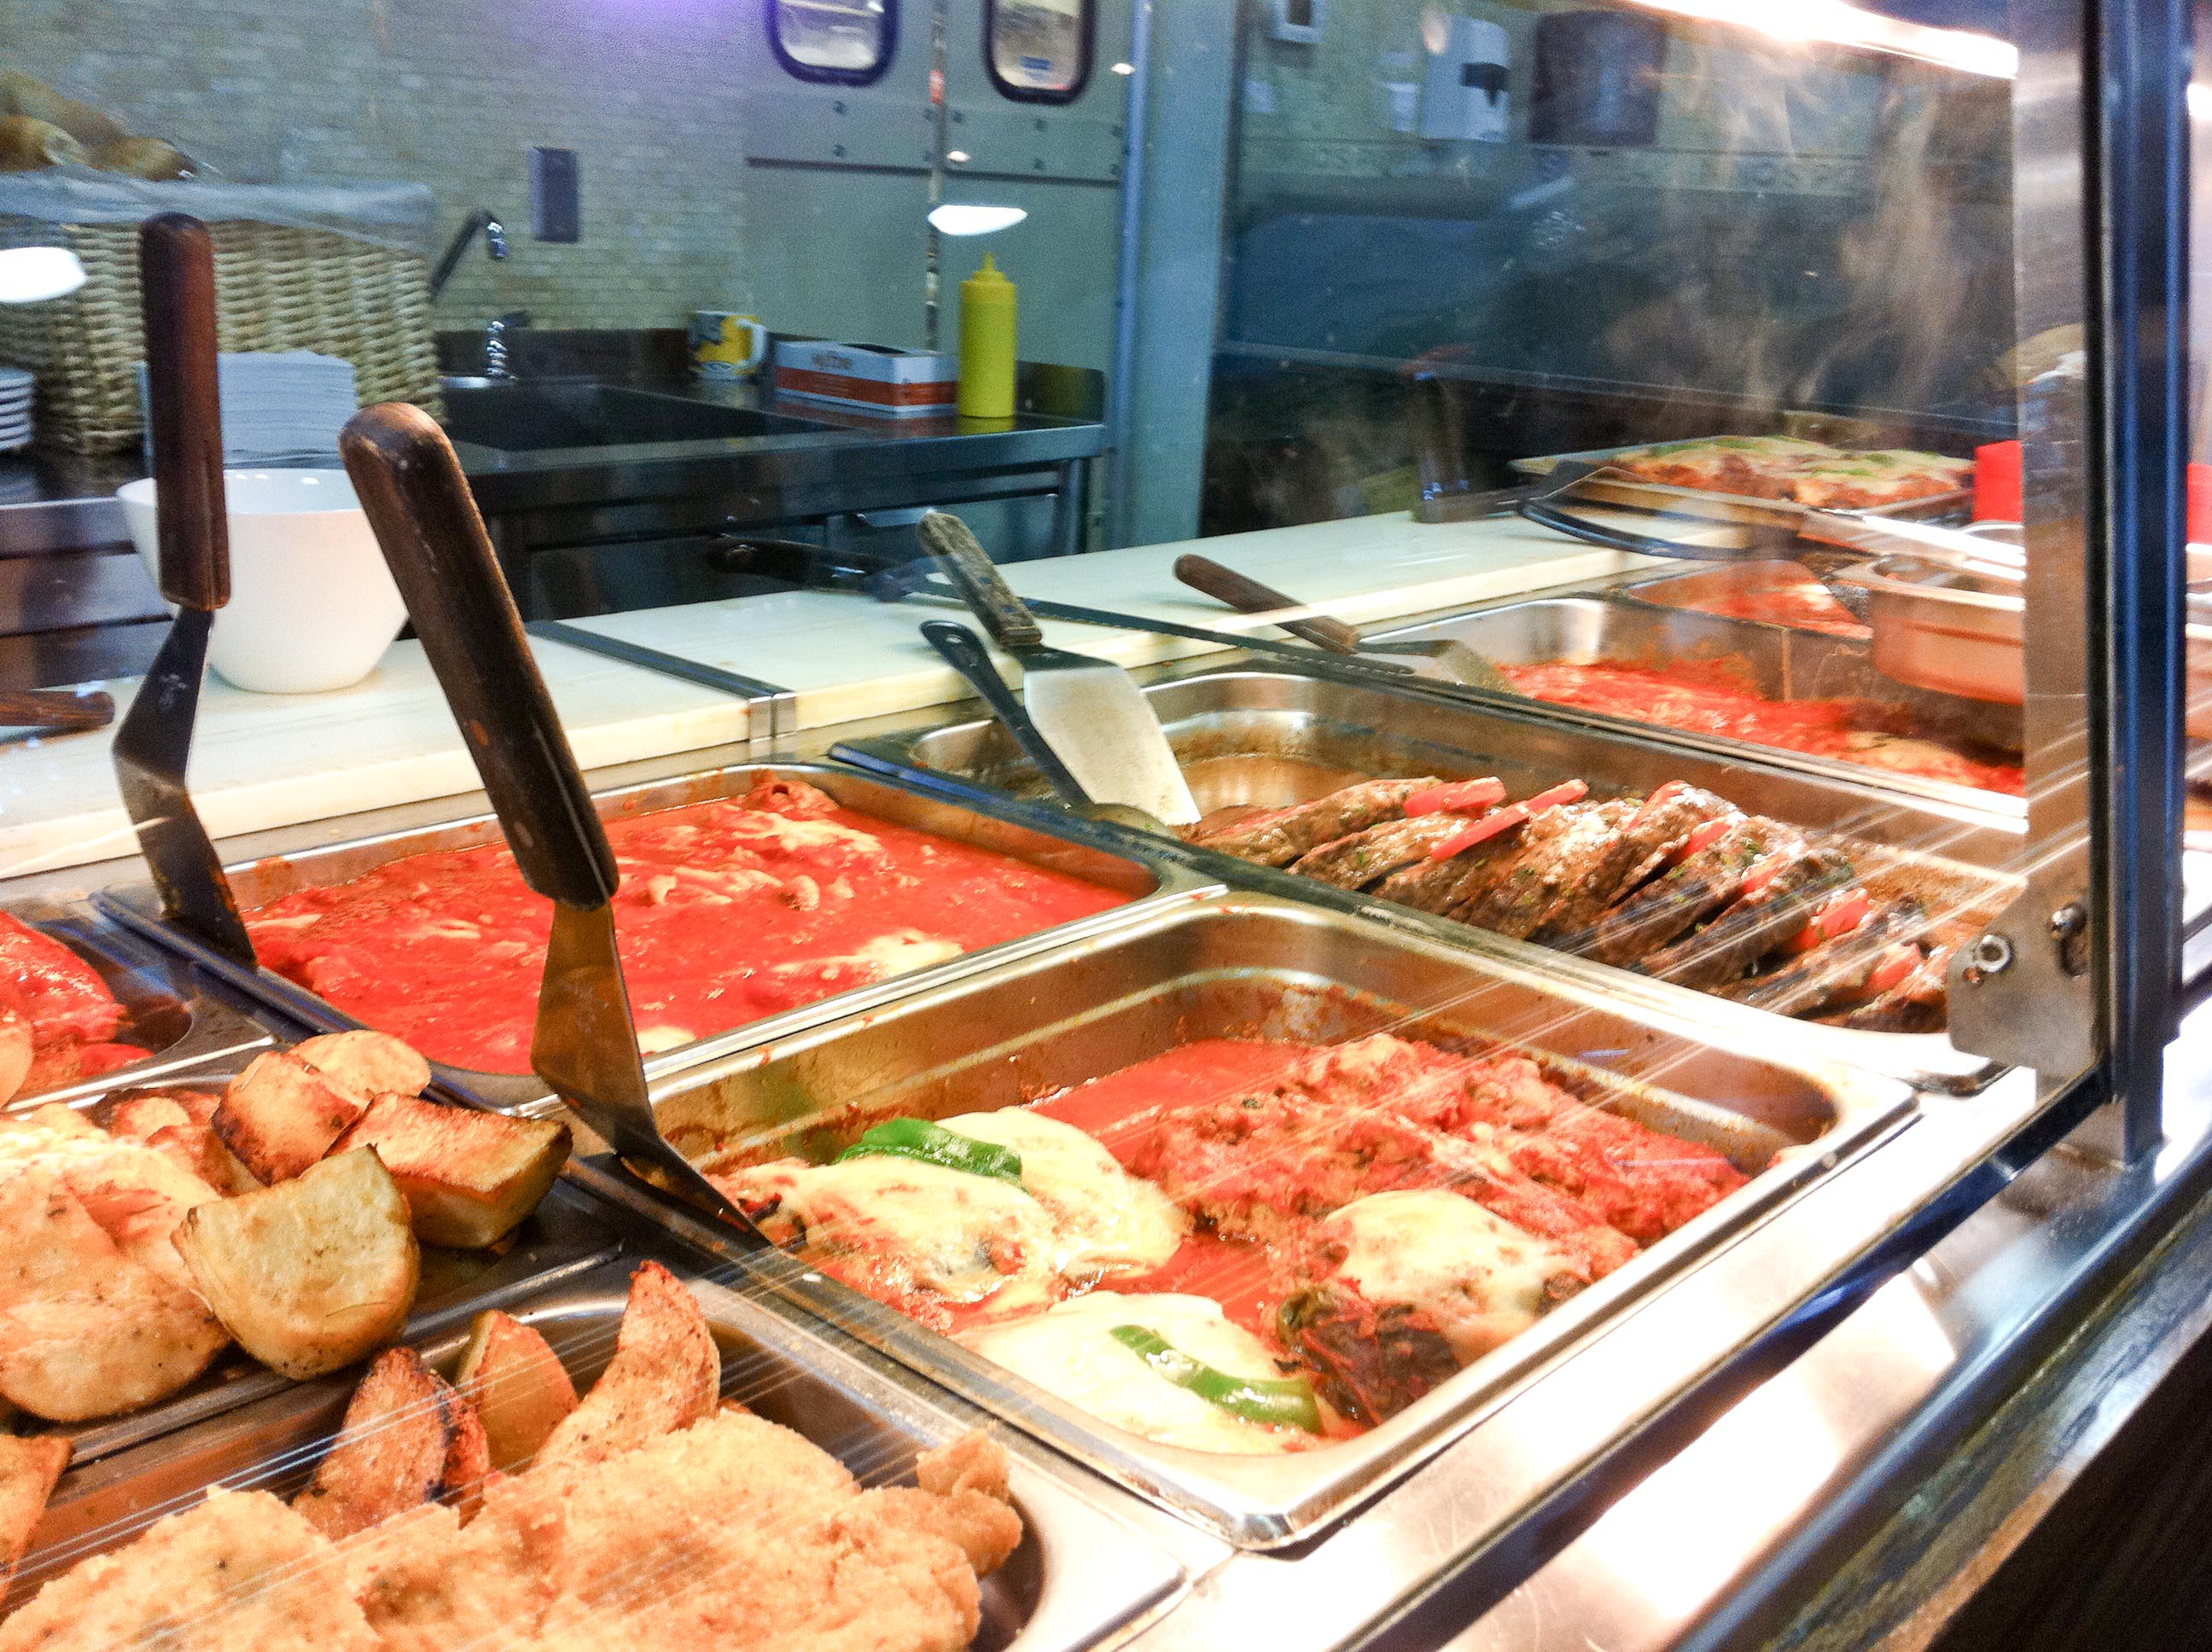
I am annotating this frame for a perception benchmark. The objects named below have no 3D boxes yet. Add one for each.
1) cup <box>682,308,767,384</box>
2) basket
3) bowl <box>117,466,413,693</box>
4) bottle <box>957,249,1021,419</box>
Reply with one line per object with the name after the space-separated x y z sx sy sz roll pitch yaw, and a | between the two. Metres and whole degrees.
-0.196 -0.251 0.818 0.046 0.026 0.029 12 24 17 | cup
-0.467 -0.240 0.824 0.219 0.087 0.261 -8 18 -25 | basket
-0.598 -0.193 1.228 0.274 0.128 0.222 -3 15 -11 | bowl
-0.078 -0.303 0.990 0.029 0.104 0.071 2 28 14 | bottle
